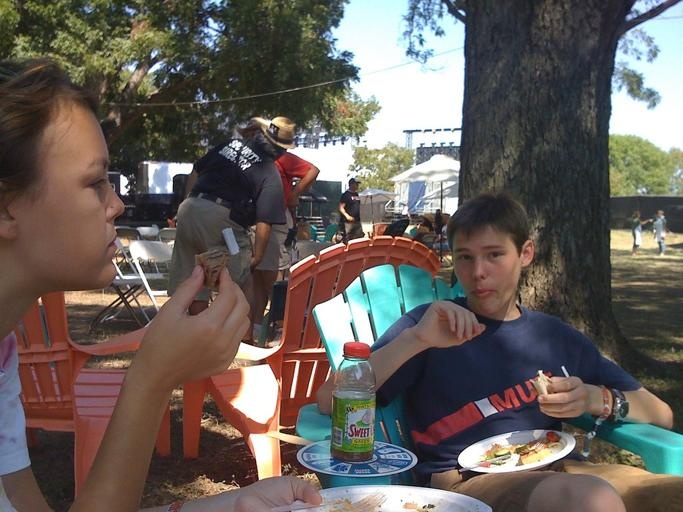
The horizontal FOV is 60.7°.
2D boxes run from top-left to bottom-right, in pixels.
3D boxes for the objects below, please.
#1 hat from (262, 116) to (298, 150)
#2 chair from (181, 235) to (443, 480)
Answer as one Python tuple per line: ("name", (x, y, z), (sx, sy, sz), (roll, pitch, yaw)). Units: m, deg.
("hat", (-0.637, -1.265, 6.384), (0.402, 0.156, 0.361), (29, 22, -34))
("chair", (-0.310, 0.713, 4.145), (1.457, 2.181, 1.496), (5, 7, 43))
